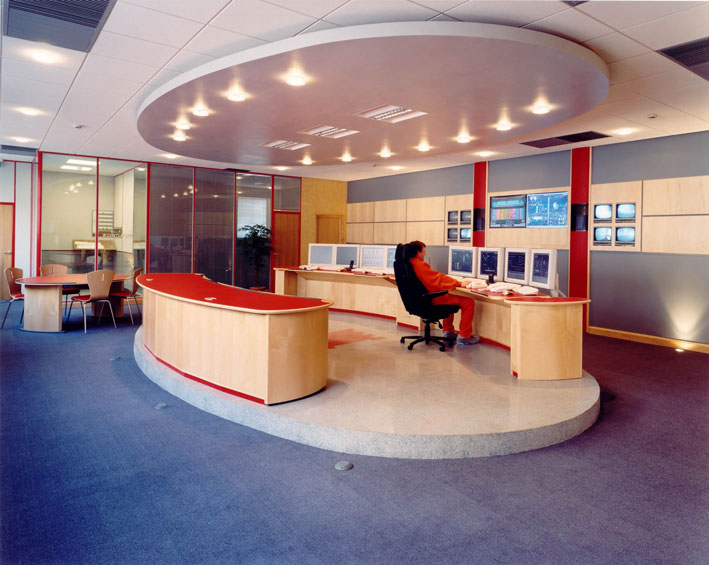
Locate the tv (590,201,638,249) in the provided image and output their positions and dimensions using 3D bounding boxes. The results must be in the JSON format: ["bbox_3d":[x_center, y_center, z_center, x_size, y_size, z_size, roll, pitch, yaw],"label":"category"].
[{"bbox_3d":[4.332,-0.954,8.315,0.130,0.965,0.832,4,-3,-35],"label":"tv"}]

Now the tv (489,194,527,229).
[{"bbox_3d":[3.010,-1.364,9.753,0.239,0.619,0.727,3,-3,-40],"label":"tv"}]

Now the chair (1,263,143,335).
[{"bbox_3d":[-4.886,0.312,8.501,1.295,0.743,1.661,3,3,18],"label":"chair"}]

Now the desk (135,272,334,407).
[{"bbox_3d":[-1.404,0.562,5.410,2.402,0.944,0.819,10,13,43],"label":"desk"}]

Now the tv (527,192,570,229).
[{"bbox_3d":[3.561,-1.301,9.130,0.084,0.611,0.726,-1,4,-38],"label":"tv"}]

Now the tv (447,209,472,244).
[{"bbox_3d":[2.258,-1.180,10.705,0.255,0.731,0.769,1,-1,-34],"label":"tv"}]

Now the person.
[{"bbox_3d":[1.179,0.152,7.083,0.964,1.372,0.891,-5,8,-28],"label":"person"}]
